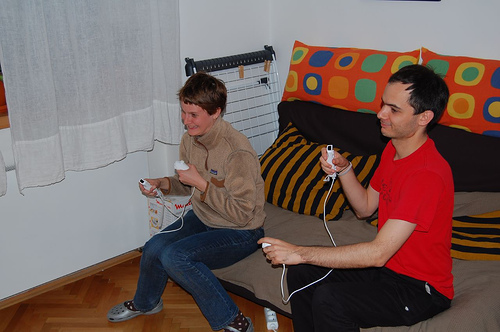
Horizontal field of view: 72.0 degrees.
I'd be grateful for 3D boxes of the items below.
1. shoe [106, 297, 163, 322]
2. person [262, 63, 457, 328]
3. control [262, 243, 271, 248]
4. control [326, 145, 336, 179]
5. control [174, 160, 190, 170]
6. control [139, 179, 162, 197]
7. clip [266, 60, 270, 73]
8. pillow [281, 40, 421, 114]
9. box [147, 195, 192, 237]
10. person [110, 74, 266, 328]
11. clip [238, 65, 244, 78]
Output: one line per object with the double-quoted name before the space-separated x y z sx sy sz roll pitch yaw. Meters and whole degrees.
"shoe" -0.786 1.014 2.435 0.400 0.124 0.145 -3 28 -15
"person" 0.633 0.210 1.763 0.874 1.388 0.503 -1 17 1
"control" 0.083 0.403 1.747 0.021 0.012 0.029 3 9 33
"control" 0.446 -0.024 1.903 0.059 0.210 0.132 3 17 13
"control" -0.402 -0.008 2.038 0.091 0.046 0.053 -1 17 0
"control" -0.672 0.142 2.331 0.051 0.064 0.219 -28 -29 23
"clip" 0.157 -0.874 3.031 0.039 0.108 0.031 -11 19 -29
"pillow" 0.743 -0.675 2.711 0.994 0.513 0.294 18 13 31
"box" -0.712 0.404 2.925 0.292 0.403 0.275 -9 29 -42
"person" -0.359 0.275 2.150 0.805 1.615 0.504 6 18 21
"clip" -0.068 -0.793 2.890 0.037 0.103 0.074 13 22 39
